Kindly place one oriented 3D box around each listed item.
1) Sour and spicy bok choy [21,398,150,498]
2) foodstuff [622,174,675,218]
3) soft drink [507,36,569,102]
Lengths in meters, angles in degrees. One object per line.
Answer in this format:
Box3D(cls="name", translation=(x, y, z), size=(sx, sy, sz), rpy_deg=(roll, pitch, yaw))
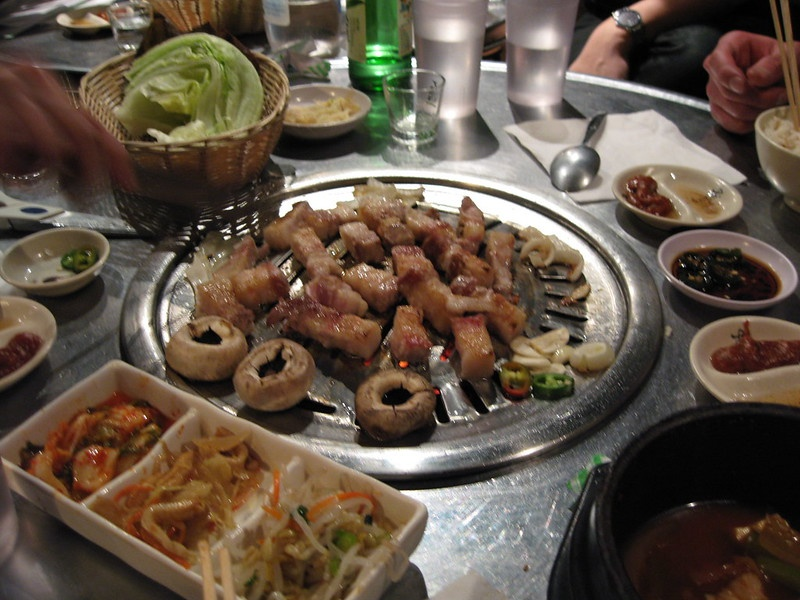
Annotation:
Box3D(cls="Sour and spicy bok choy", translation=(-0.898, 0.418, 1.750), size=(0.209, 0.086, 0.282), rpy_deg=(28, 52, 19))
Box3D(cls="foodstuff", translation=(1.081, -0.448, 2.604), size=(0.153, 0.058, 0.236), rpy_deg=(-14, 47, 0))
Box3D(cls="soft drink", translation=(0.758, -1.245, 3.335), size=(0.232, 0.407, 0.234), rpy_deg=(-22, 29, -39))
